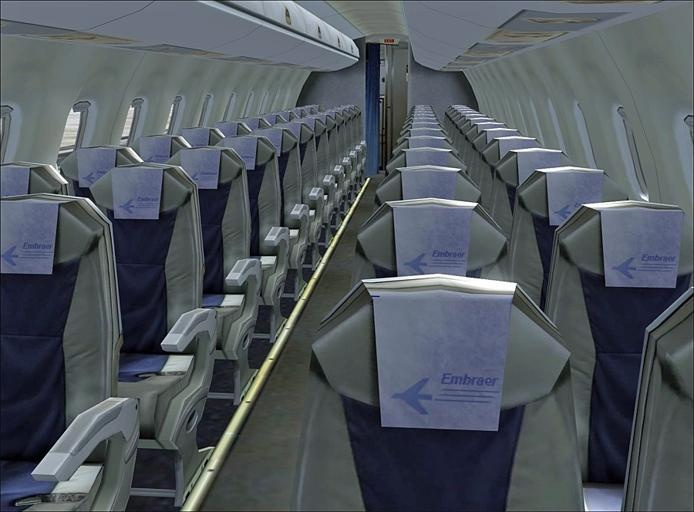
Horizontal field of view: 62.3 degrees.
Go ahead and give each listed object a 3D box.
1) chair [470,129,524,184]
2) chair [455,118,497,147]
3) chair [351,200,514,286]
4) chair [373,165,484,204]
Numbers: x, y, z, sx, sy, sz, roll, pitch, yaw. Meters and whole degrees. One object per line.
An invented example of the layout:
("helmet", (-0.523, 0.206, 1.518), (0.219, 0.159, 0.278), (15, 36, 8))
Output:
("chair", (2.070, -1.529, 8.138), (0.741, 0.952, 1.003), (1, 8, 11))
("chair", (2.280, -2.426, 10.949), (0.673, 0.393, 1.072), (-3, 14, 21))
("chair", (0.394, -0.071, 2.683), (0.482, 0.469, 0.461), (1, 10, 6))
("chair", (0.516, -0.474, 3.782), (0.684, 0.269, 0.271), (2, 9, 5))
